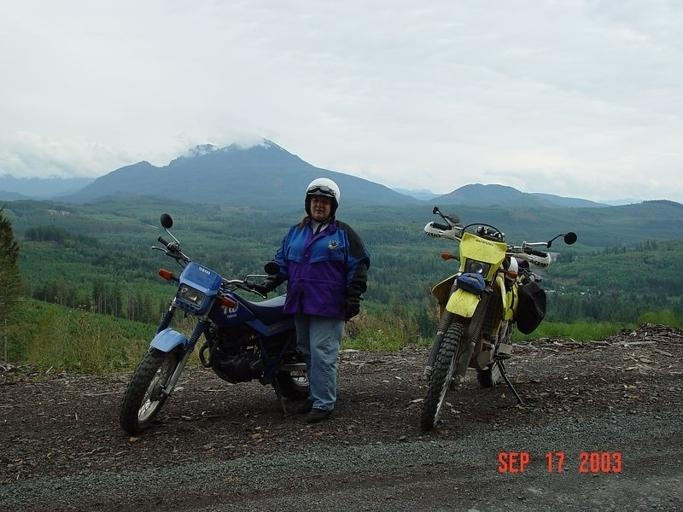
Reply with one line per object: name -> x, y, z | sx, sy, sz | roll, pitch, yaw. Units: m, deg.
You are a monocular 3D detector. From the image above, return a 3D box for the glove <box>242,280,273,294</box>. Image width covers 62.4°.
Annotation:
glove -> -1.009, 0.359, 7.045 | 0.220, 0.080, 0.222 | 12, 6, 35

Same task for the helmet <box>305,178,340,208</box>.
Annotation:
helmet -> -0.242, -0.832, 7.306 | 0.344, 0.336, 0.433 | 8, 18, 4

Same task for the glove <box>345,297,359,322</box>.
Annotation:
glove -> 0.150, 0.669, 7.123 | 0.208, 0.232, 0.251 | 3, 9, 5
